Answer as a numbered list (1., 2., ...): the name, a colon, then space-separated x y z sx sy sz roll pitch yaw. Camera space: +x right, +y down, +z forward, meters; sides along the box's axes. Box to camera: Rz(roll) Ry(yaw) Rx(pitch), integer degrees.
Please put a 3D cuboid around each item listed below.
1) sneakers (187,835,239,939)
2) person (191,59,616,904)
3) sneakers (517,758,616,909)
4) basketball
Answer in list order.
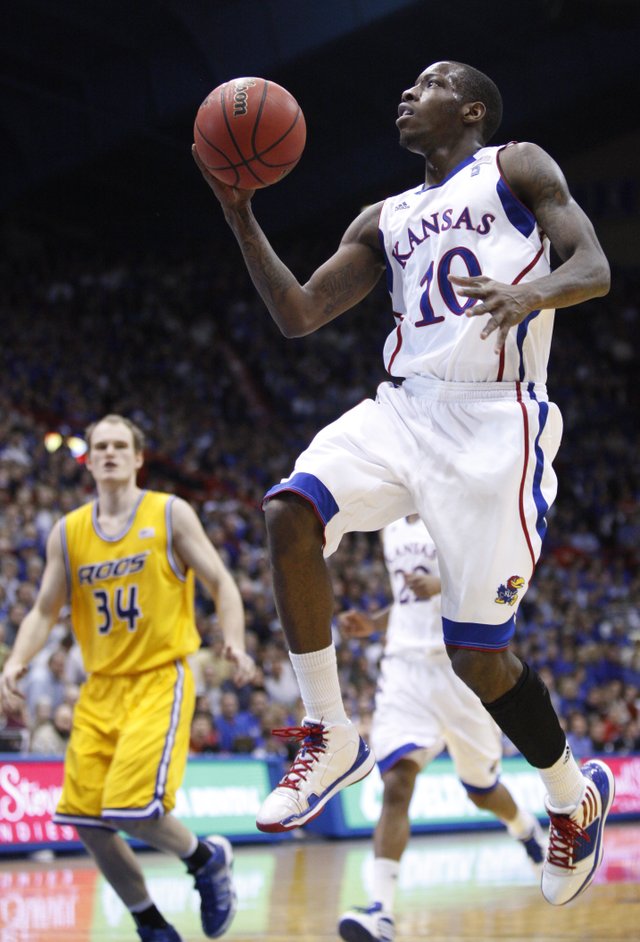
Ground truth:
1. sneakers: -0.322 1.348 3.339 0.130 0.342 0.158 -6 3 29
2. person: 0.286 0.171 2.651 0.911 2.024 0.760 -8 12 -4
3. sneakers: 0.641 0.959 2.775 0.165 0.431 0.206 17 4 35
4. basketball: -0.184 -0.866 2.617 0.259 0.242 0.258 24 36 25
